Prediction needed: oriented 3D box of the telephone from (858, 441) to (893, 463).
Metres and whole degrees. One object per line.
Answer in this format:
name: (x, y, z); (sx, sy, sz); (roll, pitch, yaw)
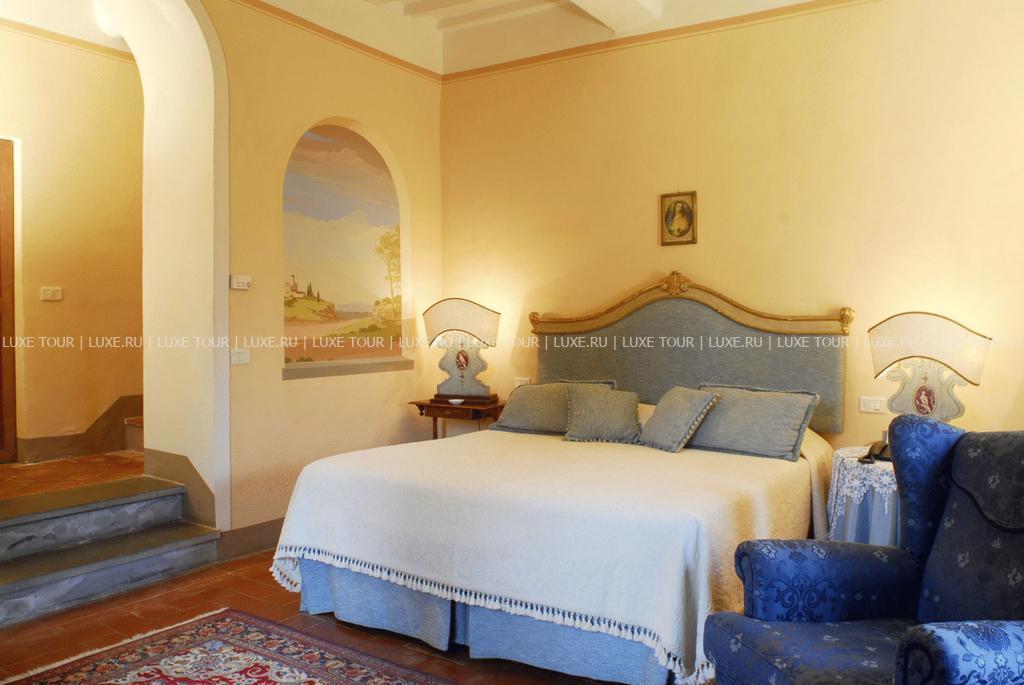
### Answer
telephone: (2.218, 0.671, 4.426); (0.248, 0.090, 0.339); (-2, 3, 27)

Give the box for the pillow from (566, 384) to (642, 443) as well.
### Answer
pillow: (0.654, 0.510, 5.288); (0.413, 0.138, 0.438); (5, 48, 12)

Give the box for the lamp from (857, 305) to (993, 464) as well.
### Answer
lamp: (2.628, 0.236, 4.559); (0.837, 0.974, 0.354); (10, 21, 39)

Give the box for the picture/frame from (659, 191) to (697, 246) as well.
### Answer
picture/frame: (1.346, -1.002, 5.853); (0.422, 0.576, 0.077); (4, 7, 33)
